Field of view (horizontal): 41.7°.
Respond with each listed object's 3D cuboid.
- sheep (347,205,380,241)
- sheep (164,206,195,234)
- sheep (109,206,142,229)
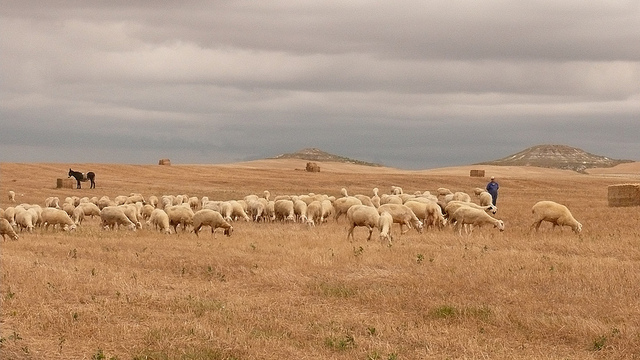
[{"bbox_3d":[2.871,2.991,57.761,2.071,2.330,2.875,0,0,-11],"label":"sheep"},{"bbox_3d":[-10.298,3.061,60.730,0.911,1.447,2.791,-27,-28,37],"label":"sheep"},{"bbox_3d":[-13.853,2.813,61.819,1.929,1.585,0.811,0,0,12],"label":"sheep"}]
